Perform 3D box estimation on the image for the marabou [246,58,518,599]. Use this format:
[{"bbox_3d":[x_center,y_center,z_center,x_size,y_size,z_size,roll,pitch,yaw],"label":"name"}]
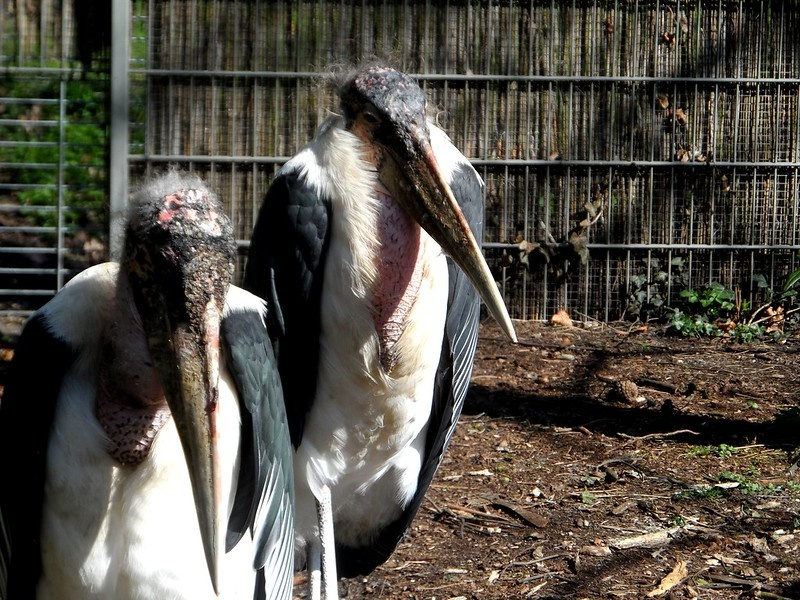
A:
[{"bbox_3d":[-0.158,0.206,6.252,1.179,2.612,0.933,3,3,-2],"label":"marabou"}]
